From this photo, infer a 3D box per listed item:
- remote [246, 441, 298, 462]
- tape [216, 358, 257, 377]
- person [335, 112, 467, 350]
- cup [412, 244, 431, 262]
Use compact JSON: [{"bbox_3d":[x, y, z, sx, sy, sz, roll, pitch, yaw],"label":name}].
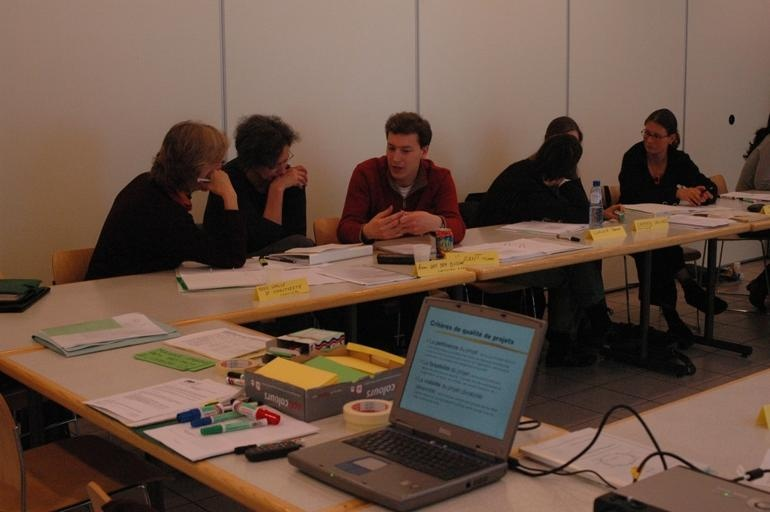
[{"bbox_3d":[-0.268,0.460,1.414,0.089,0.018,0.048,-6,9,-32],"label":"remote"},{"bbox_3d":[-0.443,0.332,1.811,0.076,0.018,0.054,3,4,31],"label":"tape"},{"bbox_3d":[0.070,-0.299,3.523,0.798,1.400,0.726,-5,19,-28],"label":"person"},{"bbox_3d":[0.172,-0.013,2.937,0.076,0.079,0.088,-3,6,-23],"label":"cup"}]
